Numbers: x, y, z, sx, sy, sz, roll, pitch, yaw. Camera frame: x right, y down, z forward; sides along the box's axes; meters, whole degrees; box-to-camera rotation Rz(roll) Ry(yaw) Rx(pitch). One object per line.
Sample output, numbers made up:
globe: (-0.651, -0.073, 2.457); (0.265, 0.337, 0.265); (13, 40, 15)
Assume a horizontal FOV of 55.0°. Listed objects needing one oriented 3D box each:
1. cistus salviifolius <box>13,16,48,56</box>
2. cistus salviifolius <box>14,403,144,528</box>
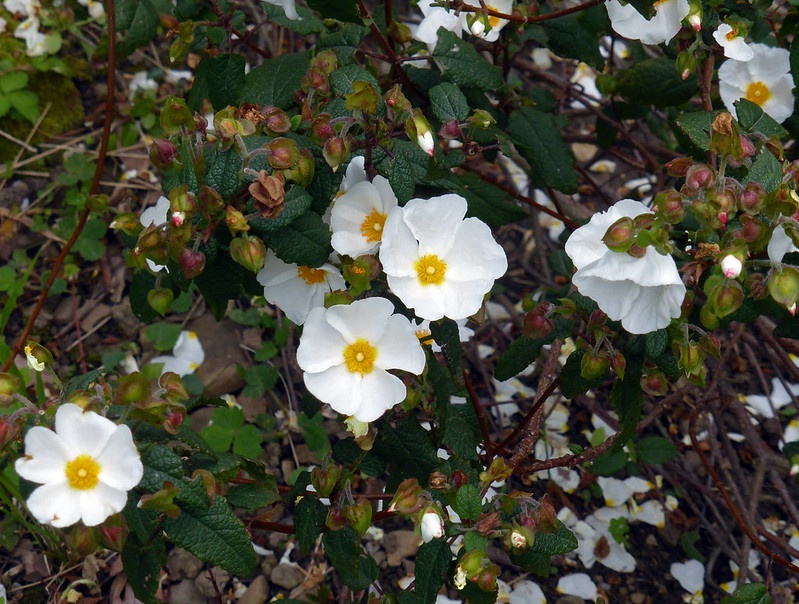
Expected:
cistus salviifolius: (-1.611, -1.157, 3.355); (0.128, 0.069, 0.187); (-17, 98, -19)
cistus salviifolius: (-0.890, 0.469, 2.139); (0.305, 0.136, 0.377); (-5, 91, 8)
